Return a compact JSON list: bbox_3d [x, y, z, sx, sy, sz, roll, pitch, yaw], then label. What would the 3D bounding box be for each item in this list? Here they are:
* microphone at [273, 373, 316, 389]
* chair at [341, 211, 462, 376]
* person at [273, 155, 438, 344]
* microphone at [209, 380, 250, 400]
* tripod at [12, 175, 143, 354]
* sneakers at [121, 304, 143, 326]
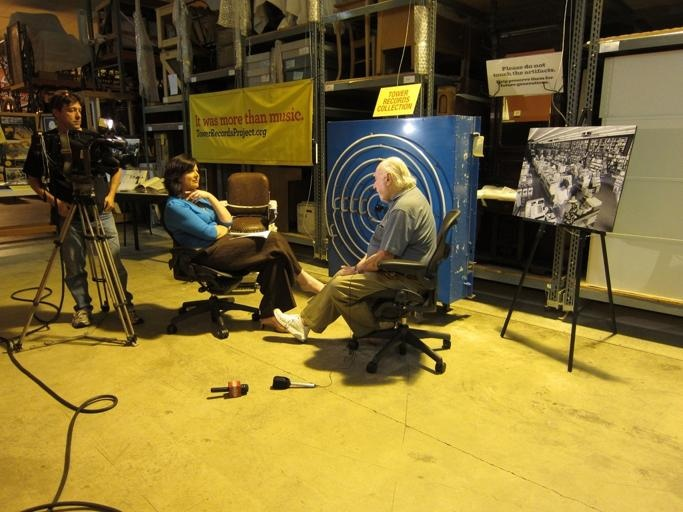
[{"bbox_3d":[-0.324,0.867,3.504,0.278,0.055,0.112,2,1,-13],"label":"microphone"},{"bbox_3d":[0.436,0.196,4.257,1.222,1.353,1.157,2,5,6],"label":"chair"},{"bbox_3d":[0.213,-0.044,3.719,0.918,1.315,0.360,4,15,8],"label":"person"},{"bbox_3d":[-0.721,0.899,3.381,0.319,0.121,0.094,1,16,-11],"label":"microphone"},{"bbox_3d":[-2.208,0.001,4.283,0.901,1.332,1.089,-4,15,-21],"label":"tripod"},{"bbox_3d":[-1.873,0.537,4.571,0.101,0.106,0.302,-14,17,-38],"label":"sneakers"}]
